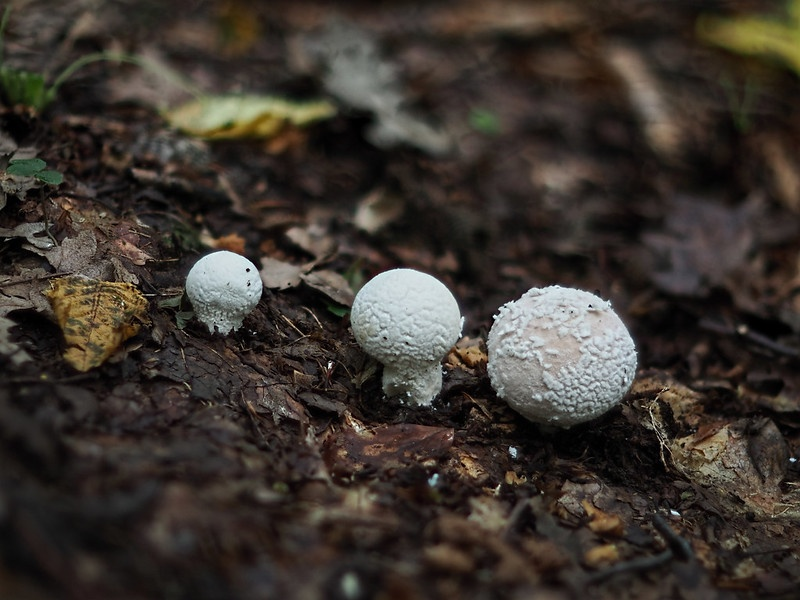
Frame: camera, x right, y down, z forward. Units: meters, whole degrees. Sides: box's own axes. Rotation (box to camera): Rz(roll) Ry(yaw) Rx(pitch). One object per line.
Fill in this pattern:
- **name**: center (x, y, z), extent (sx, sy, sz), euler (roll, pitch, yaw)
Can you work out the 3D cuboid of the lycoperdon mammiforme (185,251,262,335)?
- **lycoperdon mammiforme**: center (-0.987, -0.042, 4.469), extent (0.405, 0.370, 0.343), euler (-38, 72, -27)
